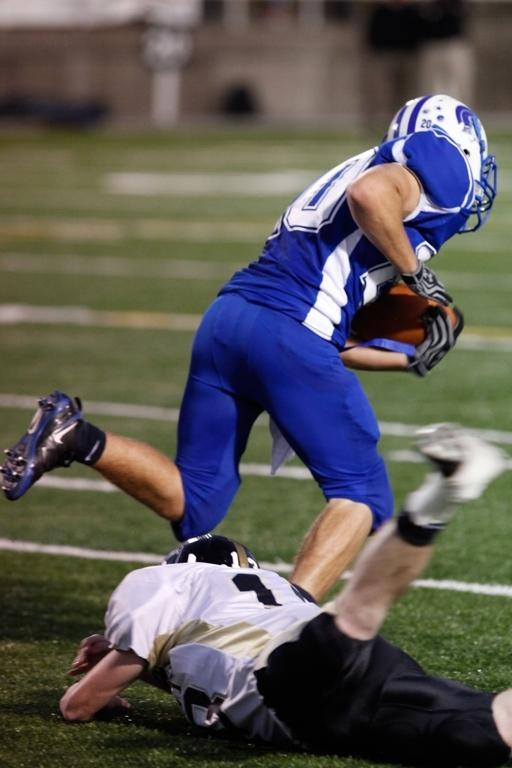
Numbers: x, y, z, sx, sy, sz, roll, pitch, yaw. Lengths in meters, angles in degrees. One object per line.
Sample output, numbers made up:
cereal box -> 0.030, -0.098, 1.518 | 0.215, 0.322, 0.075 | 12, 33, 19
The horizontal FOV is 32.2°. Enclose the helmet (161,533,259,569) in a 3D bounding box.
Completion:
helmet -> -0.111, 0.371, 2.014 | 0.167, 0.073, 0.094 | 20, 10, -1

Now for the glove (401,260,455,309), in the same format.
glove -> 0.513, -0.290, 2.503 | 0.174, 0.048, 0.092 | 26, -5, -4

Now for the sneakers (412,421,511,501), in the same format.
sneakers -> 0.316, 0.118, 1.439 | 0.146, 0.104, 0.061 | 38, 4, -13

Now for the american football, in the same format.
american football -> 0.456, -0.222, 2.770 | 0.301, 0.151, 0.220 | -2, 20, 18
